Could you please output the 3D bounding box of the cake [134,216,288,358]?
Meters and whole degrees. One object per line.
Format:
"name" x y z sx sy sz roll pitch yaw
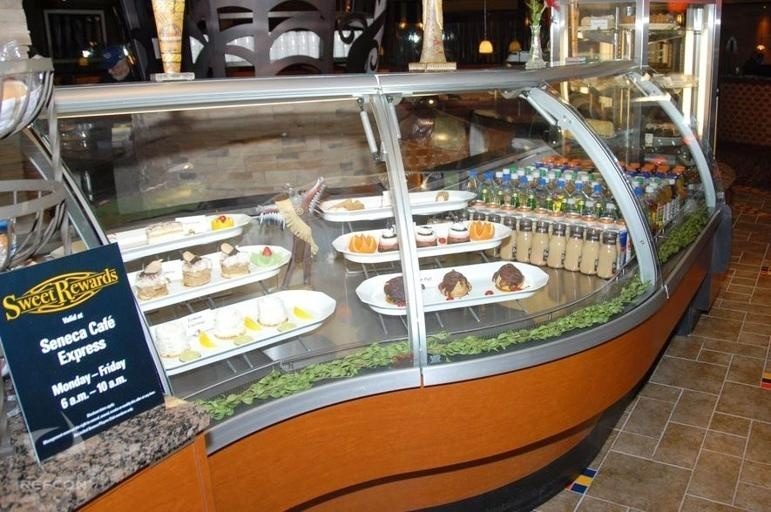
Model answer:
"cake" -0.704 0.064 2.037 0.621 0.380 0.471 -17 26 -32
